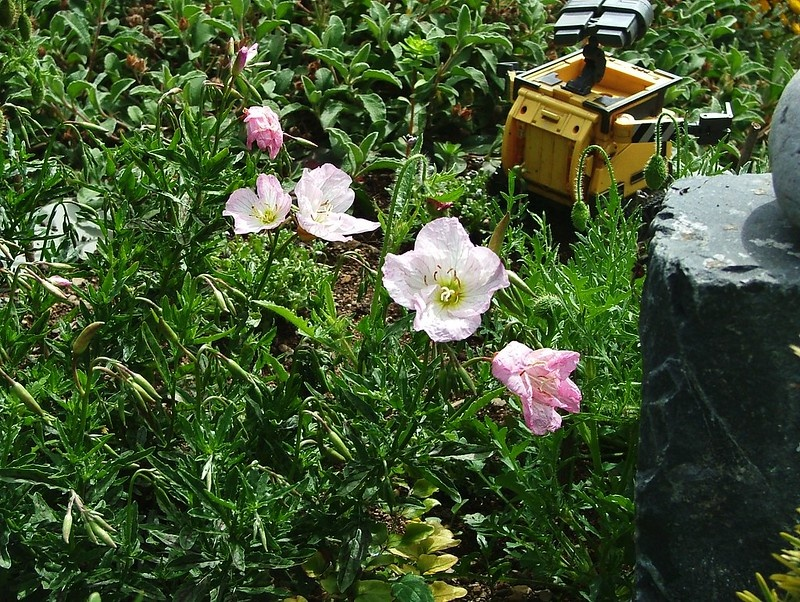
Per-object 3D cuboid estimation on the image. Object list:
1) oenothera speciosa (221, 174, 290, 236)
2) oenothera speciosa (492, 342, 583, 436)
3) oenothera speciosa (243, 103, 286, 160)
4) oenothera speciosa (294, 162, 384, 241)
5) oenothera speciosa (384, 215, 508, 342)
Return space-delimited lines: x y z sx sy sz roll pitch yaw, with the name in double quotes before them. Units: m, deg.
"oenothera speciosa" -0.463 -0.309 2.667 0.229 0.191 0.141 12 36 7
"oenothera speciosa" 0.456 0.237 2.403 0.244 0.104 0.237 -6 20 41
"oenothera speciosa" -0.500 -0.609 2.993 0.125 0.226 0.217 -2 37 -11
"oenothera speciosa" -0.220 -0.293 2.729 0.252 0.296 0.338 -1 37 -9
"oenothera speciosa" 0.130 -0.056 2.333 0.277 0.265 0.300 -25 46 -35
